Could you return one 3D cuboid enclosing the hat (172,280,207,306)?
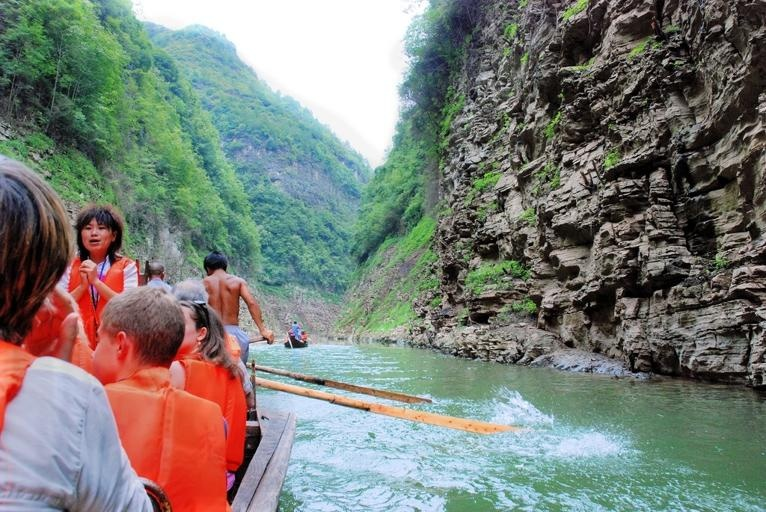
[{"bbox_3d":[-1.978,0.362,5.227,0.339,0.313,0.268,-4,4,-10],"label":"hat"}]
